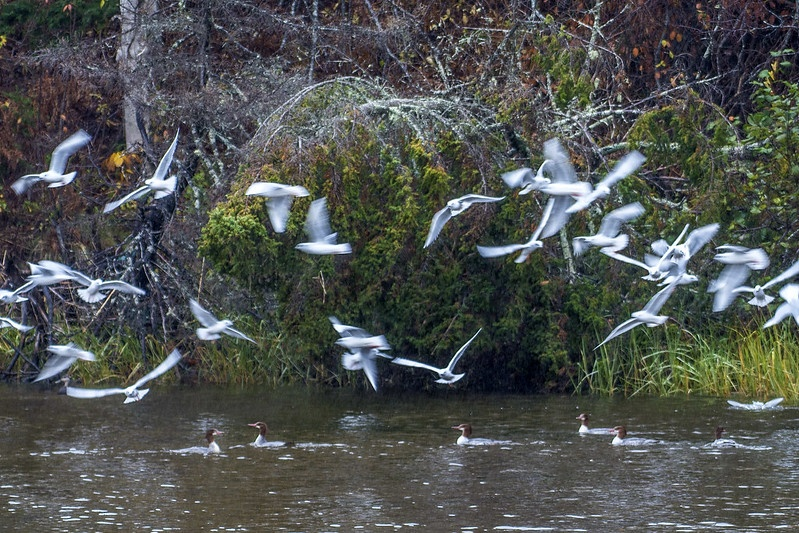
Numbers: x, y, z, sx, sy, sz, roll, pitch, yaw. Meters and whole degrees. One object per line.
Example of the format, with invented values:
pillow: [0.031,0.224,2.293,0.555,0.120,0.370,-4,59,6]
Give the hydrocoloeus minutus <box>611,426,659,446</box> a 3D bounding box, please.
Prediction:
hydrocoloeus minutus: [3.831,2.952,28.394,0.893,0.312,0.430,3,89,2]

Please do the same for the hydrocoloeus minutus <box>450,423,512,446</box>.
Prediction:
hydrocoloeus minutus: [1.359,2.938,28.681,1.131,0.353,0.530,3,85,-1]

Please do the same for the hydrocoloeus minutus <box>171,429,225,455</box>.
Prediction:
hydrocoloeus minutus: [-3.298,3.011,28.309,0.929,0.330,0.589,-3,90,13]
